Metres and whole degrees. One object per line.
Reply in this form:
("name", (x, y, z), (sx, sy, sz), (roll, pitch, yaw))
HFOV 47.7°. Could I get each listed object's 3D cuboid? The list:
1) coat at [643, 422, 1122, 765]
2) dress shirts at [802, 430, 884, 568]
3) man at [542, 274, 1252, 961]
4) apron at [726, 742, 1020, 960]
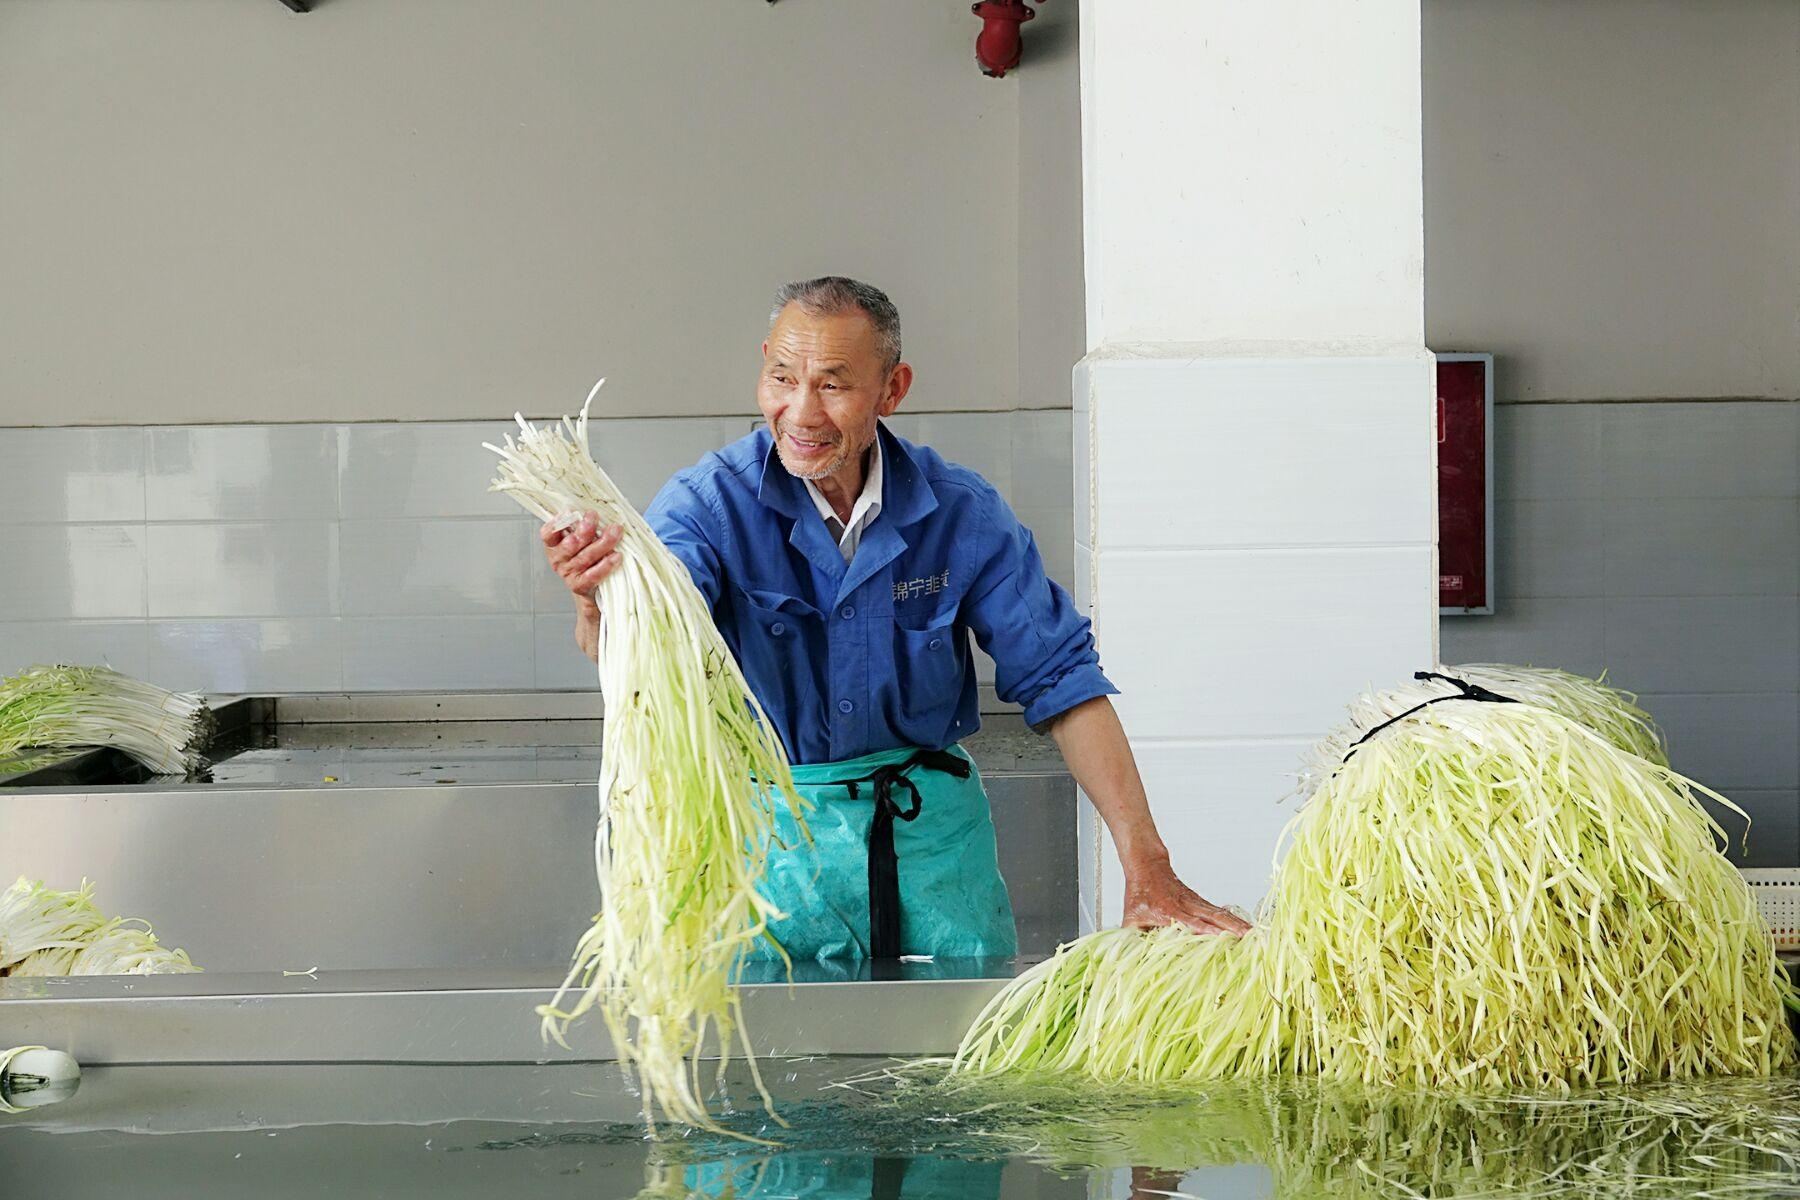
("coat", (-0.072, 0.015, 4.420), (1.168, 0.719, 0.711), (-2, 5, -24))
("dress shirts", (-0.108, -0.219, 4.394), (0.189, 0.264, 0.097), (-19, 10, -20))
("man", (0.015, 0.419, 4.425), (1.173, 2.060, 1.210), (-5, 19, 5))
("apron", (-0.072, 0.590, 4.580), (0.689, 0.466, 0.390), (-3, -9, -29))
